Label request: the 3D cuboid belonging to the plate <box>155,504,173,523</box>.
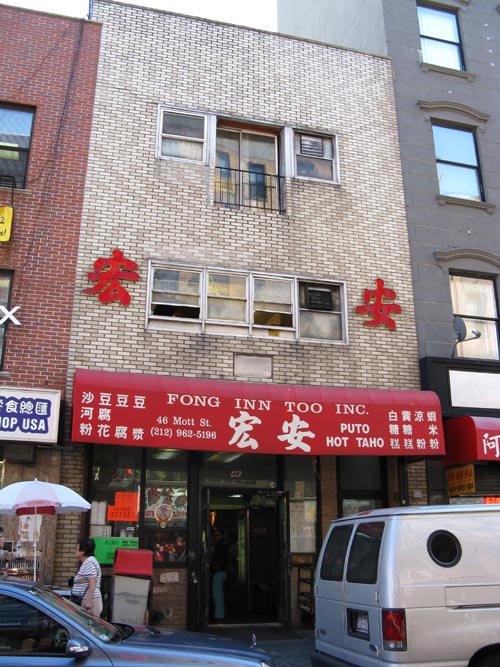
[{"bbox_3d":[-1.444,3.031,9.865,0.297,0.276,0.086,0,-8,-27],"label":"plate"}]
